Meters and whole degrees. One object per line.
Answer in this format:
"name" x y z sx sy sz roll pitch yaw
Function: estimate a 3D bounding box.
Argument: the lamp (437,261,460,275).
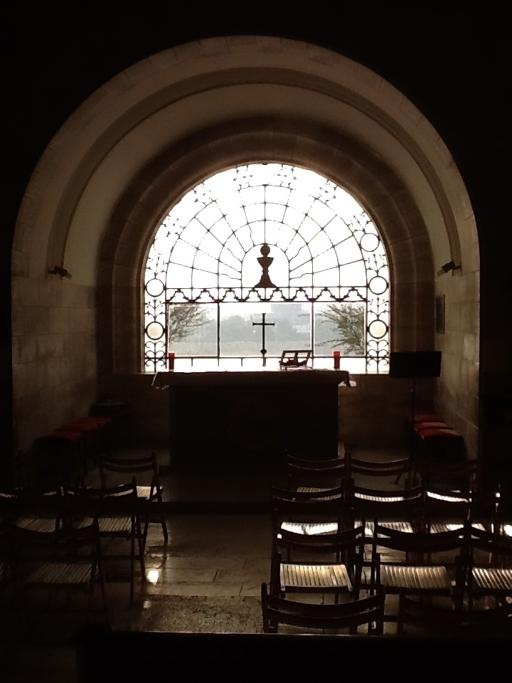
"lamp" 2.504 -0.958 8.159 0.225 0.070 0.226 -12 -24 9
